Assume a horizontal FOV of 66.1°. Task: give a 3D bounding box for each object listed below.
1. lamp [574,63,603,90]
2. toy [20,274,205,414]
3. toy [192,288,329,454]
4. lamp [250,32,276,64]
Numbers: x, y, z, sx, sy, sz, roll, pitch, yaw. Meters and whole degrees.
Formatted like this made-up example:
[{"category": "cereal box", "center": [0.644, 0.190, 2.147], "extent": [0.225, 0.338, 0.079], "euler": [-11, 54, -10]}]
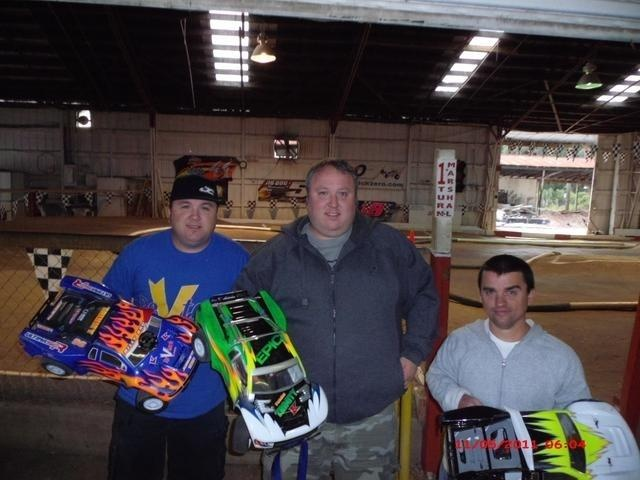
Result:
[{"category": "lamp", "center": [5.877, -3.634, 10.822], "extent": [0.417, 0.615, 0.710], "euler": [2, 3, 27]}, {"category": "toy", "center": [-1.052, 0.581, 2.720], "extent": [1.025, 0.630, 0.268], "euler": [22, -23, -2]}, {"category": "toy", "center": [-0.393, 0.682, 2.674], "extent": [0.588, 0.853, 0.277], "euler": [-19, -18, -31]}, {"category": "lamp", "center": [-1.142, -3.996, 9.947], "extent": [0.500, 0.488, 0.480], "euler": [-8, 24, -15]}]
